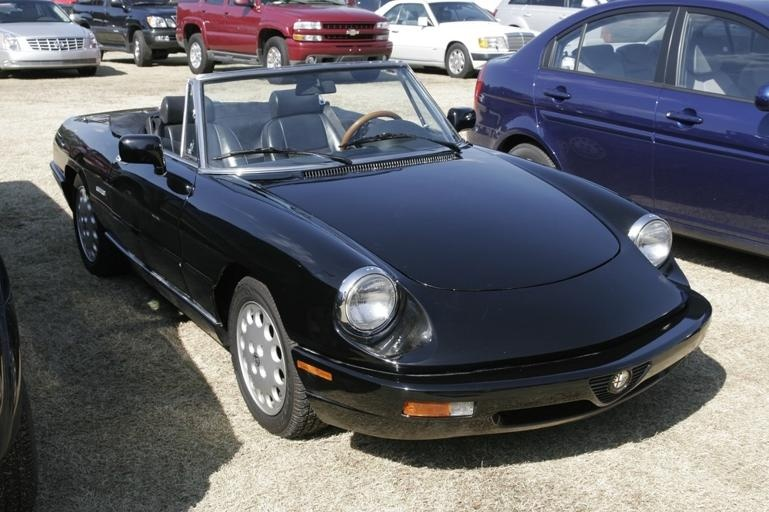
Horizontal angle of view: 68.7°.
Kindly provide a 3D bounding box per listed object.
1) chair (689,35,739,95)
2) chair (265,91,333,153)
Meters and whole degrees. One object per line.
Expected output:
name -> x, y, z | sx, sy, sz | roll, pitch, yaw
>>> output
chair -> 2.827, -1.642, 4.862 | 0.362, 0.574, 0.166 | 5, -3, 14
chair -> -0.610, -0.947, 4.027 | 0.533, 0.479, 0.460 | -12, 28, -30
